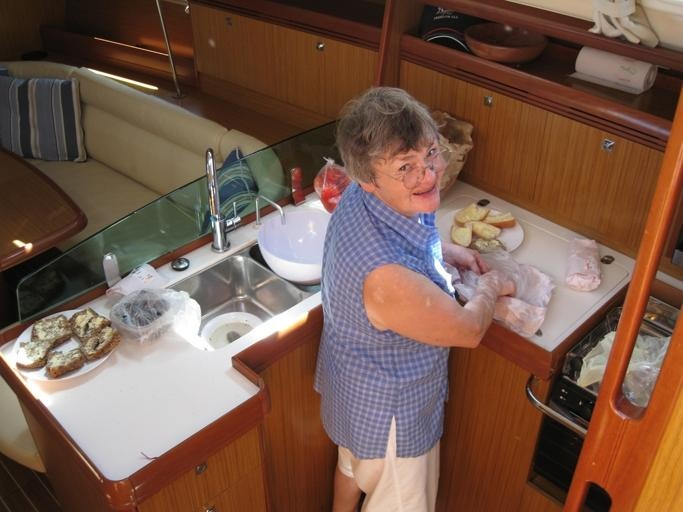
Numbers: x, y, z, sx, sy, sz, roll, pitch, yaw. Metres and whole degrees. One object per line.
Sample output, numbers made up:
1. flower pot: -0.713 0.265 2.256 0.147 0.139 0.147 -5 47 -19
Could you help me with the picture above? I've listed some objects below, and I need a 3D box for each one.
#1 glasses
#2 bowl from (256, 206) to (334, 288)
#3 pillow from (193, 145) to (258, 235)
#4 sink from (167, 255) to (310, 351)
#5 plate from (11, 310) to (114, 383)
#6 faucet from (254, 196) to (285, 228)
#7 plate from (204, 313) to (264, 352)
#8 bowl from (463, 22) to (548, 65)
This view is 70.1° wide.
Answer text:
1. glasses: 0.192 -0.218 1.219 0.179 0.085 0.046 -18 41 -22
2. bowl: -0.161 -0.059 1.782 0.270 0.172 0.275 2 53 -3
3. pillow: -0.439 -0.248 1.940 0.078 0.285 0.285 19 49 -35
4. sink: -0.389 0.169 1.763 0.353 0.240 0.361 36 61 25
5. plate: -0.817 0.265 1.433 0.185 0.051 0.212 27 47 15
6. faucet: -0.288 -0.164 1.894 0.029 0.094 0.113 -25 57 -26
7. plate: -0.399 0.253 1.743 0.216 0.033 0.122 -18 44 -22
8. bowl: 0.618 -0.809 1.861 0.310 0.092 0.229 19 43 19
